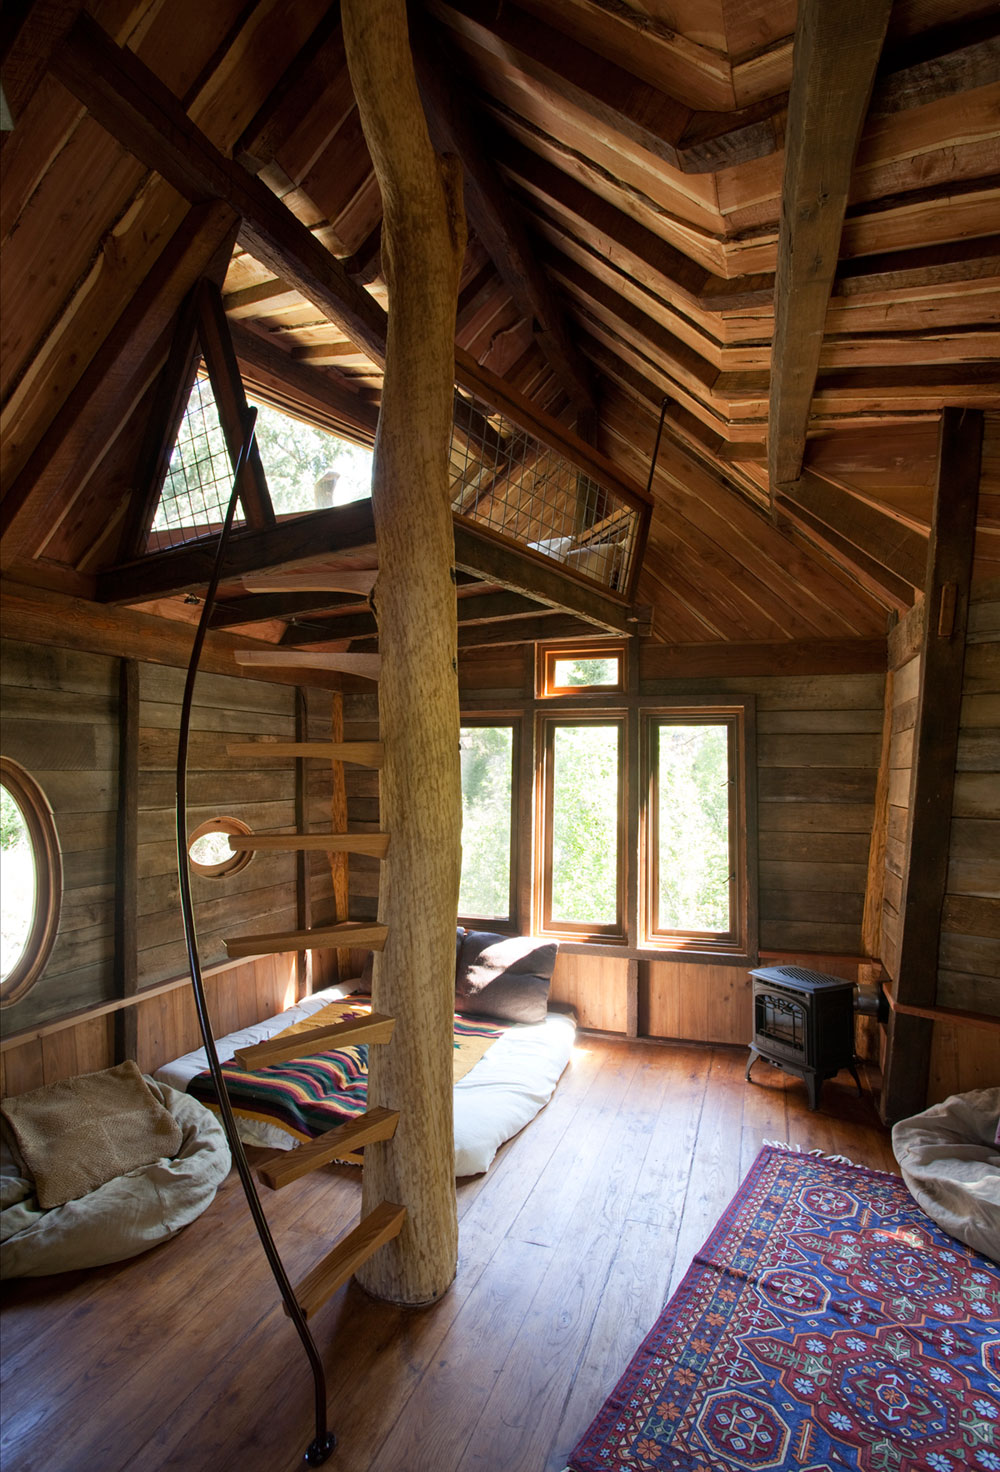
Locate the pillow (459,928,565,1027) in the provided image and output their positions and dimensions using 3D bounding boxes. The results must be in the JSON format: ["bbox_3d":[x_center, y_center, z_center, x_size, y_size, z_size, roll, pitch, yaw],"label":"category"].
[{"bbox_3d":[0.060,1.263,5.313,0.508,0.353,0.487,0,2,1],"label":"pillow"}]

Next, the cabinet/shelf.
[{"bbox_3d":[1.338,1.278,4.430,0.399,0.512,0.424,4,9,36],"label":"cabinet/shelf"}]
